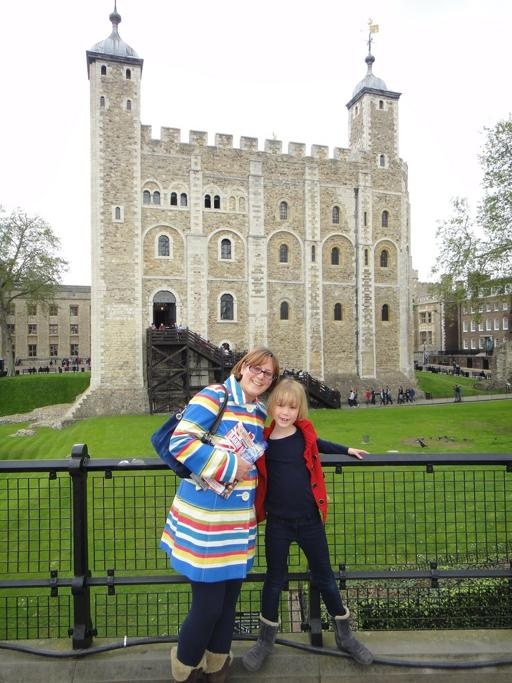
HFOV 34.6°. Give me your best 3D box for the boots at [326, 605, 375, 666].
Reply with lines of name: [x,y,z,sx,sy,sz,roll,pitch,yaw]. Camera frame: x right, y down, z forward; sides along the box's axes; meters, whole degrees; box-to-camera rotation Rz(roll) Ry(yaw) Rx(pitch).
boots: [0.765,2.317,6.471,0.178,0.336,0.474,-19,11,-23]

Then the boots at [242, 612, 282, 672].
boots: [0.024,2.359,6.444,0.204,0.384,0.410,13,-10,26]
